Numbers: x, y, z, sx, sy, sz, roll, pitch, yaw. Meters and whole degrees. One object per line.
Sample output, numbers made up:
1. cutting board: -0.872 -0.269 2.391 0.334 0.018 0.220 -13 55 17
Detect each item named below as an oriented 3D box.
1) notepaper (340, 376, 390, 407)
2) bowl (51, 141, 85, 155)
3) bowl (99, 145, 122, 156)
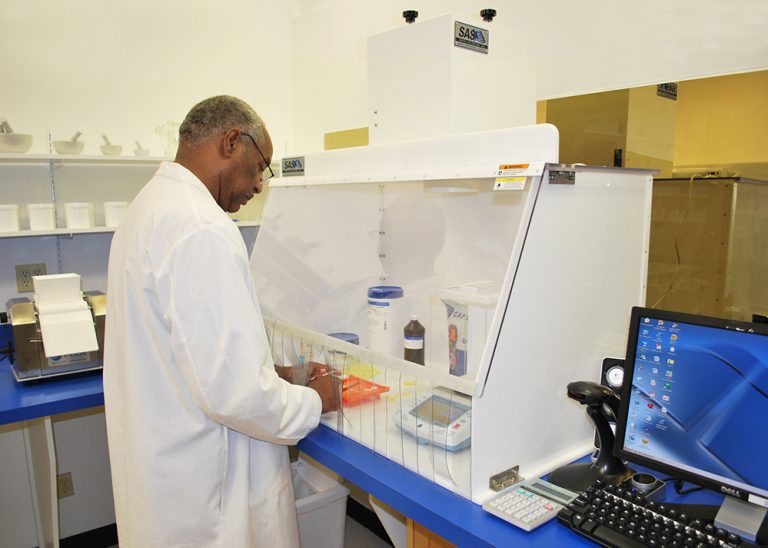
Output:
1. notepaper: -0.090 0.449 2.189 0.118 0.051 0.176 0 2 -31
2. bowl: -1.764 -0.704 3.193 0.145 0.091 0.109 -4 7 -31
3. bowl: -1.568 -0.710 3.277 0.074 0.039 0.077 -2 4 0
